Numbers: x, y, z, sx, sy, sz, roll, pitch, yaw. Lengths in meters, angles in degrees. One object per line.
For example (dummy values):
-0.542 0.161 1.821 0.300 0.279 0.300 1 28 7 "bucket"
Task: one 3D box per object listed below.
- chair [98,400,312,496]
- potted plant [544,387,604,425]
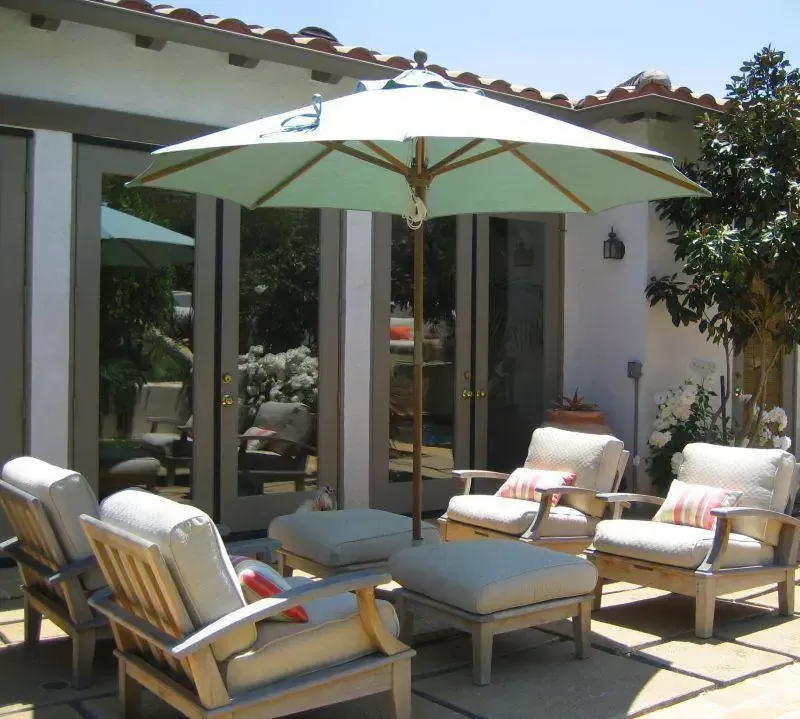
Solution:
-1.307 0.595 5.998 1.107 0.556 0.662 6 -2 -36 "chair"
1.520 0.383 7.136 0.349 0.217 0.344 3 -3 -34 "potted plant"
